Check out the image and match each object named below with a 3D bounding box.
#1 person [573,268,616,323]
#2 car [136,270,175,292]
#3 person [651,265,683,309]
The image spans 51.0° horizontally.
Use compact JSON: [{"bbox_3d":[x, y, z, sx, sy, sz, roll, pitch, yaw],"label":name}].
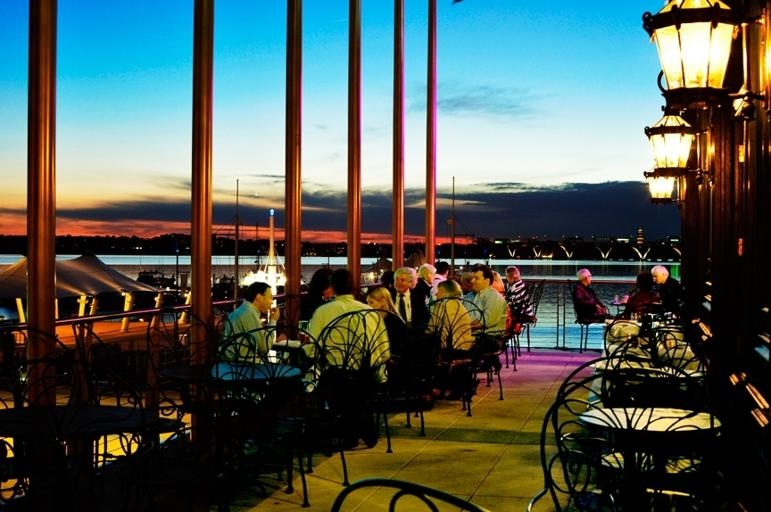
[{"bbox_3d":[3.491,0.612,13.423,0.849,1.054,0.757,-1,4,0],"label":"person"},{"bbox_3d":[-20.556,2.079,72.136,3.379,1.236,4.275,0,-2,-1],"label":"car"},{"bbox_3d":[3.863,0.428,11.120,0.295,0.781,0.469,-14,-3,21],"label":"person"}]
